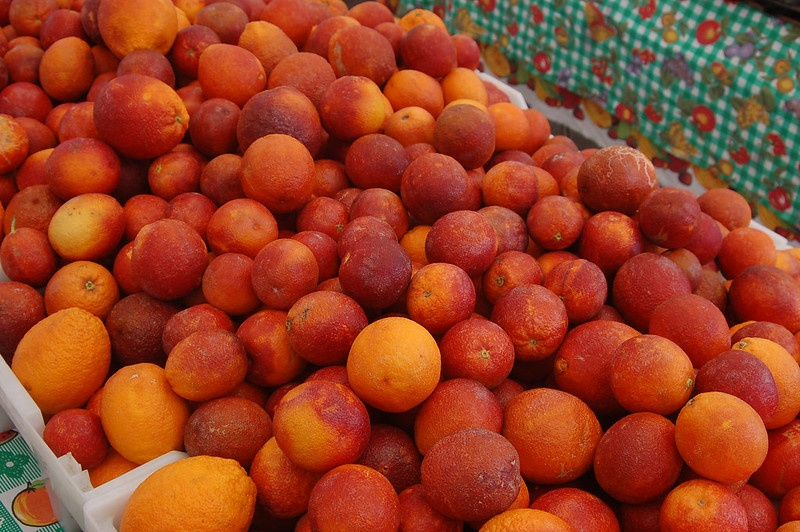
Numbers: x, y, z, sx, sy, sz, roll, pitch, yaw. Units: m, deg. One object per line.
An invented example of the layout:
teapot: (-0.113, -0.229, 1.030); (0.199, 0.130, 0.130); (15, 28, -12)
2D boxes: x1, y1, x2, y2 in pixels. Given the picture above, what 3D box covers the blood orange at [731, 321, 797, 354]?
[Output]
blood orange: (1.455, 0.265, 2.757); (0.171, 0.138, 0.111); (0, 90, -21)
